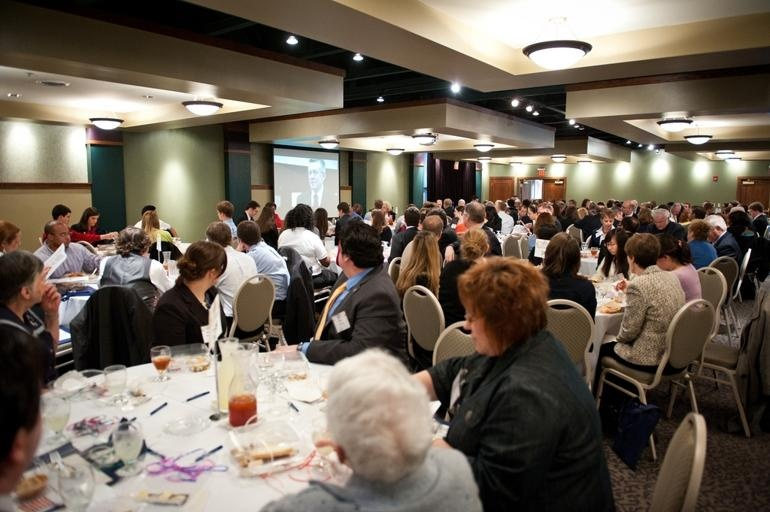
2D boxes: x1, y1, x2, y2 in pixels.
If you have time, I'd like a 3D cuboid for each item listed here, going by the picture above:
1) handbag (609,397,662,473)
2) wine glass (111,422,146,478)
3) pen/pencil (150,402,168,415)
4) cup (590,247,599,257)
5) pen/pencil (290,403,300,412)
[{"bbox_3d":[1.703,1.220,3.358,0.148,0.436,0.424,11,0,-21],"label":"handbag"},{"bbox_3d":[-1.080,0.808,2.075,0.106,0.196,0.113,-7,9,-37],"label":"wine glass"},{"bbox_3d":[-1.124,0.753,2.448,0.020,0.024,0.089,26,18,16],"label":"pen/pencil"},{"bbox_3d":[2.856,-0.076,6.635,0.104,0.123,0.105,-9,17,3],"label":"cup"},{"bbox_3d":[-0.449,0.750,2.446,0.019,0.017,0.095,22,1,-38],"label":"pen/pencil"}]
